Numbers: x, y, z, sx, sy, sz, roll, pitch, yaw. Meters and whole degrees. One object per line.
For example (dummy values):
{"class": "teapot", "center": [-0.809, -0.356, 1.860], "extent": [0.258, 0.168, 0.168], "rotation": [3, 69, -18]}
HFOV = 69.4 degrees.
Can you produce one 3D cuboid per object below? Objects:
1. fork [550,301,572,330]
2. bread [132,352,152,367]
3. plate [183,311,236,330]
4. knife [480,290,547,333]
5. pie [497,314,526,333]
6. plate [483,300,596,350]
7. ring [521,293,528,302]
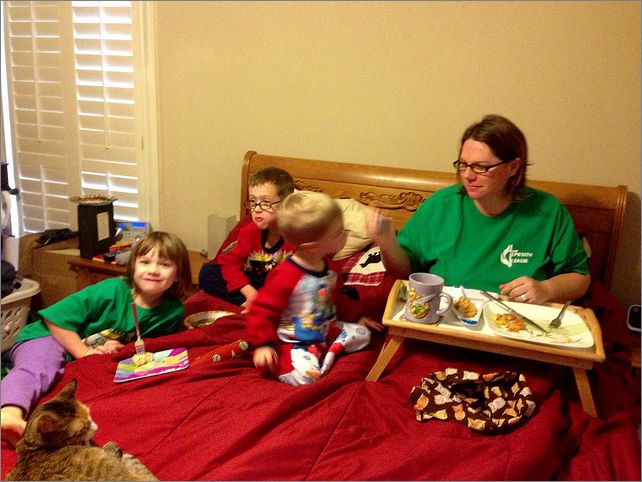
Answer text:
{"class": "fork", "center": [0.822, 0.261, 1.594], "extent": [0.038, 0.032, 0.283], "rotation": [15, 23, 27]}
{"class": "bread", "center": [-0.654, 0.429, 1.676], "extent": [0.050, 0.015, 0.048], "rotation": [0, 15, -7]}
{"class": "plate", "center": [-0.532, 0.349, 2.076], "extent": [0.123, 0.026, 0.117], "rotation": [0, 20, -2]}
{"class": "knife", "center": [0.678, 0.250, 1.626], "extent": [0.247, 0.018, 0.132], "rotation": [25, 11, -12]}
{"class": "pie", "center": [0.635, 0.275, 1.562], "extent": [0.056, 0.024, 0.075], "rotation": [14, 18, 34]}
{"class": "plate", "center": [0.743, 0.292, 1.557], "extent": [0.194, 0.026, 0.187], "rotation": [5, 19, 7]}
{"class": "ring", "center": [0.737, 0.206, 1.683], "extent": [0.019, 0.024, 0.024], "rotation": [16, 53, 18]}
